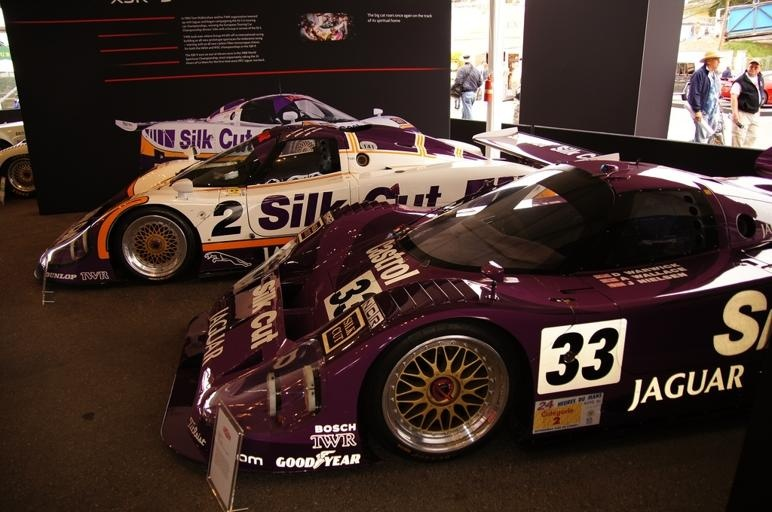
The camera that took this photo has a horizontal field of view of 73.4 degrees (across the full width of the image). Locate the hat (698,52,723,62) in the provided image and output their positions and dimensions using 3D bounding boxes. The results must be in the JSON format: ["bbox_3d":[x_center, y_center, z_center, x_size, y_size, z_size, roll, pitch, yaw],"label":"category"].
[{"bbox_3d":[4.481,-2.781,7.202,0.209,0.134,0.191,9,21,32],"label":"hat"}]

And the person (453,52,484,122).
[{"bbox_3d":[1.671,-3.417,10.724,0.565,1.099,0.811,-1,18,7],"label":"person"}]
